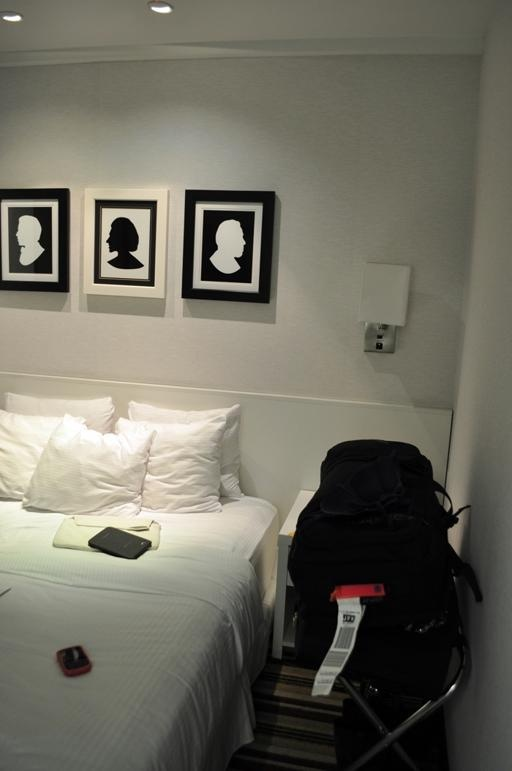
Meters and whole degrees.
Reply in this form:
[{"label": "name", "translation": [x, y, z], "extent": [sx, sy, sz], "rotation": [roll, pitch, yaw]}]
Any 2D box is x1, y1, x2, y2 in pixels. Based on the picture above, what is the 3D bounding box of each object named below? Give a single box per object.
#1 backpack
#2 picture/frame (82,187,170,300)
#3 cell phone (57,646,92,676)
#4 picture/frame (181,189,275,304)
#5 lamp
[{"label": "backpack", "translation": [0.311, 0.487, 1.491], "extent": [0.332, 0.348, 0.843], "rotation": [0, 13, 7]}, {"label": "picture/frame", "translation": [-0.607, -0.702, 2.772], "extent": [0.467, 0.638, 0.044], "rotation": [5, 10, 16]}, {"label": "cell phone", "translation": [-0.412, 0.619, 1.312], "extent": [0.068, 0.025, 0.096], "rotation": [1, 8, -34]}, {"label": "picture/frame", "translation": [-0.111, -0.657, 2.659], "extent": [0.457, 0.597, 0.043], "rotation": [4, 10, 15]}, {"label": "lamp", "translation": [0.557, -0.329, 2.495], "extent": [0.200, 0.382, 0.164], "rotation": [6, 6, 15]}]
